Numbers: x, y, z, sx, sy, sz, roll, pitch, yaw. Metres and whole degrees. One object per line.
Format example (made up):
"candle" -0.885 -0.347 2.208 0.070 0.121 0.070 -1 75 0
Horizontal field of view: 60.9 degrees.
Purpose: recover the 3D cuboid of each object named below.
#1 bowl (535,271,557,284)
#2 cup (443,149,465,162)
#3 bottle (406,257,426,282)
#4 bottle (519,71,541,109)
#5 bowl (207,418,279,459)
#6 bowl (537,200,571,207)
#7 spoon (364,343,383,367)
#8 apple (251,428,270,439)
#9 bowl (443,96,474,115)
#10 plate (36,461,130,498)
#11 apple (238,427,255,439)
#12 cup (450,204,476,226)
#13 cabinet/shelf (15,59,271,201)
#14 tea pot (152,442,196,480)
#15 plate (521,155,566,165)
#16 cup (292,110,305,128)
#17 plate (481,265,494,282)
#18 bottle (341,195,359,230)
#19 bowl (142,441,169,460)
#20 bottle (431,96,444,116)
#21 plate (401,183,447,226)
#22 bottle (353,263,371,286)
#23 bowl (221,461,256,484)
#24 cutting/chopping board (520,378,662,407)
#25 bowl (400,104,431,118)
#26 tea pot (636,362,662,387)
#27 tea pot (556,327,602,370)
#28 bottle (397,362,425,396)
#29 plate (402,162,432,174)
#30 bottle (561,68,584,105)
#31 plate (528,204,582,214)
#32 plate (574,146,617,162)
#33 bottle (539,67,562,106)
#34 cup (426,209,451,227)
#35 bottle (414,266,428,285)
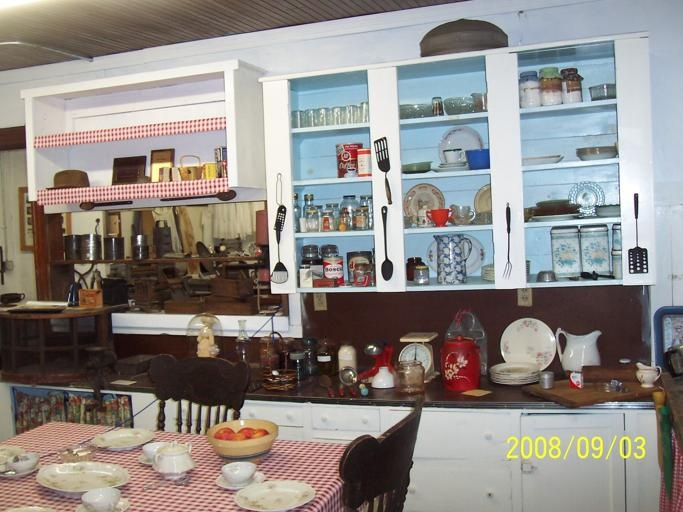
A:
"bowl" 1.206 0.116 3.404 0.108 0.060 0.155 2 6 35
"cup" 0.670 -0.593 3.462 0.077 0.067 0.111 -3 -4 39
"bottle" 0.450 0.079 3.639 0.140 0.123 0.140 1 -5 -2
"bottle" 1.114 -0.973 3.411 0.135 0.194 0.128 -4 13 1
"bowl" -0.442 0.787 2.464 0.301 0.094 0.282 -2 2 0
"bowl" 1.226 -0.305 3.381 0.085 0.023 0.083 -1 0 0
"spoon" 0.244 0.634 3.730 0.165 0.165 0.158 0 -4 7
"apple" -0.341 0.745 2.436 0.040 0.035 0.039 -17 -14 17
"bowl" 0.700 -0.884 3.454 0.136 0.065 0.123 -1 4 -7
"plate" -1.013 0.873 2.284 0.374 0.056 0.213 0 6 20
"apple" -0.396 0.745 2.448 0.035 0.033 0.039 -30 -29 -3
"cup" 0.724 -0.243 3.461 0.150 0.093 0.106 1 1 11
"cabinet/shelf" -1.338 -0.811 3.993 1.686 0.851 0.448 0 6 16
"tea pot" -0.665 0.826 2.347 0.183 0.108 0.152 -2 1 -20
"plate" 1.164 -0.564 3.429 0.222 0.066 0.194 -1 5 4
"cup" -0.268 -0.868 3.693 0.105 0.103 0.098 0 -2 0
"plate" 0.880 0.104 3.468 0.055 0.094 0.111 -3 5 -5
"bottle" 0.058 -0.277 3.700 0.135 0.204 0.127 0 7 0
"bowl" -0.794 0.822 2.480 0.094 0.044 0.088 0 0 0
"bottle" 0.579 -0.899 3.495 0.068 0.116 0.052 -1 6 9
"plate" 0.492 -0.330 3.580 0.286 0.251 0.062 2 -15 6
"bottle" 0.132 0.119 3.590 0.149 0.130 0.095 2 1 10
"bowl" -0.395 0.838 2.249 0.109 0.061 0.102 -2 5 0
"cutting/chopping board" 1.342 0.744 3.198 0.613 0.081 0.340 -2 5 -4
"bowl" 0.440 -0.859 3.517 0.118 0.036 0.118 0 4 0
"tea pot" 1.639 0.639 3.130 0.148 0.129 0.108 0 -2 17
"tea pot" 1.383 0.563 3.410 0.243 0.252 0.217 0 6 19
"bottle" 0.393 0.717 3.462 0.202 0.170 0.196 7 -7 -36
"plate" 0.459 -0.535 3.520 0.179 0.075 0.094 -2 5 -1
"bottle" 1.318 -0.980 3.348 0.111 0.215 0.084 -1 6 18
"plate" 1.224 -0.266 3.360 0.256 0.063 0.081 0 6 20
"plate" 1.462 -0.563 3.304 0.132 0.046 0.128 2 -3 -37
"bottle" 1.225 -0.988 3.412 0.145 0.206 0.133 -9 13 2
"cup" 0.587 -0.230 3.496 0.104 0.079 0.120 -1 -3 -1
"bottle" 0.489 0.117 3.546 0.113 0.107 0.106 1 -2 -16
